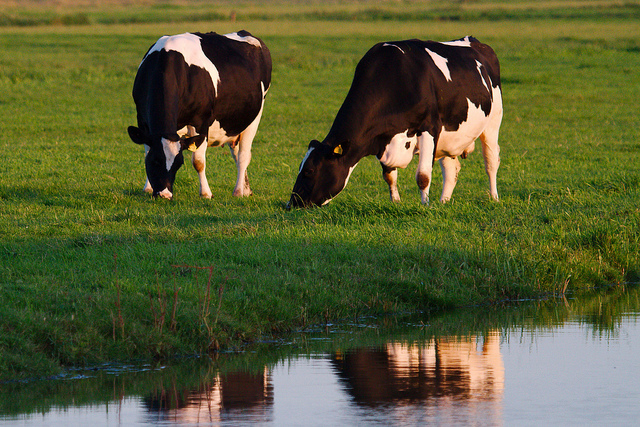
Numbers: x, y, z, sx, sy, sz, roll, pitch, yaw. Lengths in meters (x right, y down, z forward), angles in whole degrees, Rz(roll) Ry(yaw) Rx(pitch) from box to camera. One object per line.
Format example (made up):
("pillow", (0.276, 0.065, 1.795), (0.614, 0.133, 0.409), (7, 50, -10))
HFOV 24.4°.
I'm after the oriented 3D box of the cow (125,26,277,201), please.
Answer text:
("cow", (-3.602, -3.576, 48.142), (3.723, 4.985, 10.888), (3, 13, 0))
